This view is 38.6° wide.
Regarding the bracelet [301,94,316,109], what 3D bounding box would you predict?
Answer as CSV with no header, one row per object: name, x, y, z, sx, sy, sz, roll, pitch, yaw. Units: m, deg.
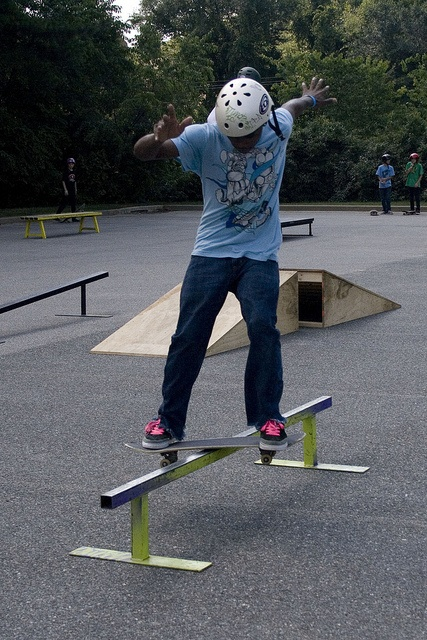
bracelet,0.529,-1.227,3.421,0.044,0.067,0.089,-17,5,5

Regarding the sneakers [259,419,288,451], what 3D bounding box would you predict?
sneakers,0.266,0.519,2.725,0.123,0.118,0.169,-1,7,7

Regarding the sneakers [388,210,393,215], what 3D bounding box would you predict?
sneakers,8.147,-4.998,28.319,0.178,0.220,0.528,8,14,23

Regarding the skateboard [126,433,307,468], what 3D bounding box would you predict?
skateboard,0.018,0.651,3.000,0.945,0.125,0.186,-6,15,-1

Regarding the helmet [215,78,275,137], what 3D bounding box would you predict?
helmet,0.128,-0.964,2.727,0.255,0.305,0.278,-1,7,5

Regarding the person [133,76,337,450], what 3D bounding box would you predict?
person,0.084,-0.262,2.893,0.943,1.751,0.721,-4,7,-17

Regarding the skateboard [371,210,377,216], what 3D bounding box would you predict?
skateboard,7.368,-4.941,28.124,0.329,0.172,0.460,2,8,7

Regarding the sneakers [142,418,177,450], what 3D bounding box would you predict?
sneakers,-0.249,0.537,2.839,0.082,0.086,0.203,4,-5,18
